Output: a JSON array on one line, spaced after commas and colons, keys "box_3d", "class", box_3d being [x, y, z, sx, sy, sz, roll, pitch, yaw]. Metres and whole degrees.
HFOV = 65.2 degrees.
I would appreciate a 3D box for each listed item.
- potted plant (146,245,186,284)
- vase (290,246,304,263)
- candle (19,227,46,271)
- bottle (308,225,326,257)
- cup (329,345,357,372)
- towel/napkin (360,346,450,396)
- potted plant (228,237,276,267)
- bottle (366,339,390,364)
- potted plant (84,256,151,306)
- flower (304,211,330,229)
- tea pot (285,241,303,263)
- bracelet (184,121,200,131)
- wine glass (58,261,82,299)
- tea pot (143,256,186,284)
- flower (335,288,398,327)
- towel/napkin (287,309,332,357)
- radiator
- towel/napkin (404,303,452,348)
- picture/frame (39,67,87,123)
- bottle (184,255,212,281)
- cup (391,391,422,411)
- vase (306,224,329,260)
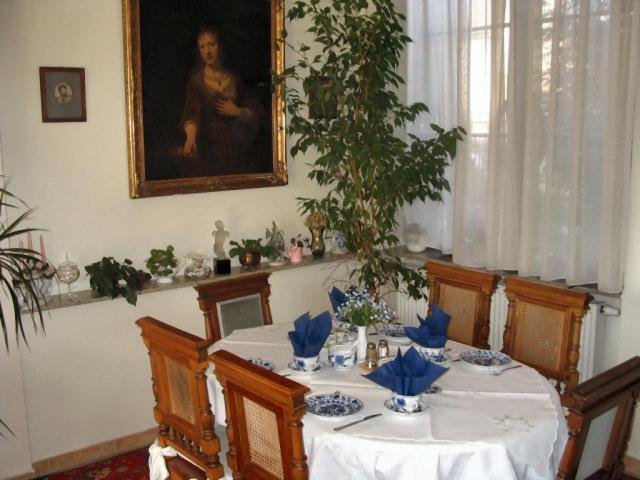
[{"box_3d": [-1.213, 0.201, 3.952, 0.281, 0.302, 0.238, 1, 1, 10], "class": "potted plant"}, {"box_3d": [-0.211, 0.131, 4.474, 0.106, 0.133, 0.134, -4, 8, -32], "class": "vase"}, {"box_3d": [-1.994, 0.071, 3.490, 0.158, 0.258, 0.237, -9, 10, -30], "class": "candle"}, {"box_3d": [-0.024, 0.001, 4.619, 0.135, 0.327, 0.331, -4, 9, -1], "class": "bottle"}, {"box_3d": [0.132, 0.636, 2.748, 0.116, 0.088, 0.128, -1, 0, -21], "class": "cup"}, {"box_3d": [0.414, 0.628, 2.350, 0.263, 0.114, 0.246, -18, 27, -38], "class": "towel/napkin"}, {"box_3d": [-0.580, 0.100, 4.309, 0.281, 0.146, 0.258, 2, 1, 5], "class": "potted plant"}, {"box_3d": [0.332, 0.623, 2.829, 0.150, 0.162, 0.084, -2, 5, -26], "class": "bottle"}, {"box_3d": [-1.488, 0.339, 3.711, 0.365, 0.147, 0.368, 9, 32, -43], "class": "potted plant"}, {"box_3d": [-0.026, -0.179, 4.442, 0.148, 0.134, 0.154, 1, -1, -19], "class": "flower"}, {"box_3d": [-0.217, 0.114, 4.477, 0.120, 0.199, 0.189, -2, 5, -27], "class": "tea pot"}, {"box_3d": [-1.024, -0.923, 4.012, 0.122, 0.064, 0.008, -10, 11, -35], "class": "bracelet"}, {"box_3d": [-1.797, 0.279, 3.586, 0.200, 0.348, 0.218, 0, 6, -28], "class": "wine glass"}, {"box_3d": [-1.187, 0.232, 4.039, 0.202, 0.158, 0.170, -4, 10, -36], "class": "tea pot"}, {"box_3d": [0.264, 0.402, 2.955, 0.245, 0.201, 0.279, -1, 2, -2], "class": "flower"}, {"box_3d": [-0.047, 0.511, 2.716, 0.186, 0.244, 0.085, 14, -11, 33], "class": "towel/napkin"}, {"box_3d": [1.193, 0.561, 3.138, 0.247, 0.510, 0.710, -6, 12, -35], "class": "radiator"}, {"box_3d": [0.649, 0.515, 2.895, 0.226, 0.085, 0.210, -17, 17, -37], "class": "towel/napkin"}, {"box_3d": [-1.830, -1.037, 3.541, 0.341, 0.453, 0.032, -9, 16, -38], "class": "picture/frame"}, {"box_3d": [-1.015, 0.218, 4.157, 0.191, 0.194, 0.203, 0, 4, 15], "class": "bottle"}, {"box_3d": [0.409, 0.740, 2.311, 0.101, 0.076, 0.085, 8, 9, 43], "class": "cup"}, {"box_3d": [-0.055, 0.036, 4.678, 0.170, 0.306, 0.183, -7, -3, -11], "class": "vase"}]
